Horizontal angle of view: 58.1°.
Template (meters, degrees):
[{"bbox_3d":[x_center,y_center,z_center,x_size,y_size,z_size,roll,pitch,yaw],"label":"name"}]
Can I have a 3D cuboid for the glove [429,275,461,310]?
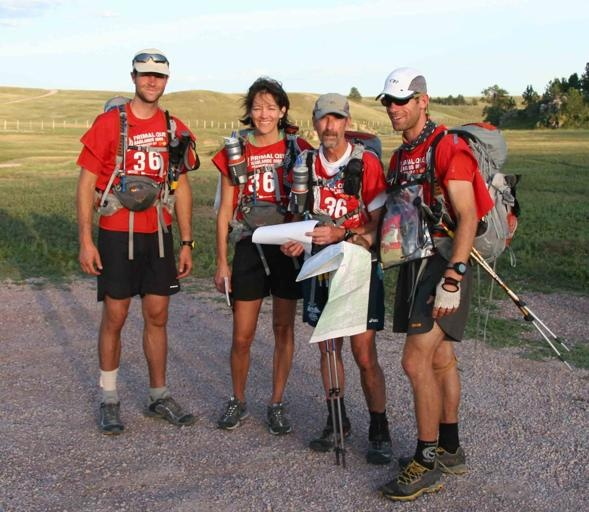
[{"bbox_3d":[1.078,0.247,3.746,0.177,0.219,0.083,4,10,-8],"label":"glove"}]

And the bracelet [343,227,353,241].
[{"bbox_3d":[0.452,-0.183,4.415,0.078,0.099,0.056,36,-30,-25],"label":"bracelet"}]

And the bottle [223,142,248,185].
[{"bbox_3d":[-0.526,-0.845,4.728,0.199,0.412,0.206,1,11,0],"label":"bottle"}]

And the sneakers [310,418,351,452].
[{"bbox_3d":[0.348,1.558,4.688,0.210,0.220,0.532,-7,-2,38],"label":"sneakers"}]

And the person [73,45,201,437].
[{"bbox_3d":[-1.419,-0.124,4.823,1.004,3.391,0.611,-4,11,-21],"label":"person"}]

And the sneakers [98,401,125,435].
[{"bbox_3d":[-1.668,1.470,4.824,0.200,0.198,0.345,-3,12,-20],"label":"sneakers"}]

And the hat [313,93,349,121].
[{"bbox_3d":[0.318,-1.232,4.386,0.307,0.219,0.266,1,11,1],"label":"hat"}]

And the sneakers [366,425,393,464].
[{"bbox_3d":[0.755,1.577,4.602,0.236,0.270,0.595,-3,-2,15],"label":"sneakers"}]

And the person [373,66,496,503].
[{"bbox_3d":[1.058,0.168,4.037,0.764,3.170,0.927,0,11,-4],"label":"person"}]

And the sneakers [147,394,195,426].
[{"bbox_3d":[-1.176,1.432,5.075,0.551,0.225,0.195,11,16,22],"label":"sneakers"}]

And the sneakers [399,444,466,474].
[{"bbox_3d":[1.125,1.601,4.304,0.606,0.246,0.215,1,5,-7],"label":"sneakers"}]

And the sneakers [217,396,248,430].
[{"bbox_3d":[-0.572,1.479,4.961,0.153,0.160,0.360,0,-6,13],"label":"sneakers"}]

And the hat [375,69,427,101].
[{"bbox_3d":[0.868,-1.377,4.167,0.332,0.225,0.463,23,33,37],"label":"hat"}]

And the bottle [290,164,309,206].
[{"bbox_3d":[0.041,-0.592,4.438,0.142,0.342,0.134,1,11,0],"label":"bottle"}]

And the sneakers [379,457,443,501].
[{"bbox_3d":[0.893,1.658,3.943,0.529,0.226,0.185,-7,16,-20],"label":"sneakers"}]

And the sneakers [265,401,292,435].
[{"bbox_3d":[-0.142,1.485,4.925,0.203,0.181,0.464,-2,8,-13],"label":"sneakers"}]
